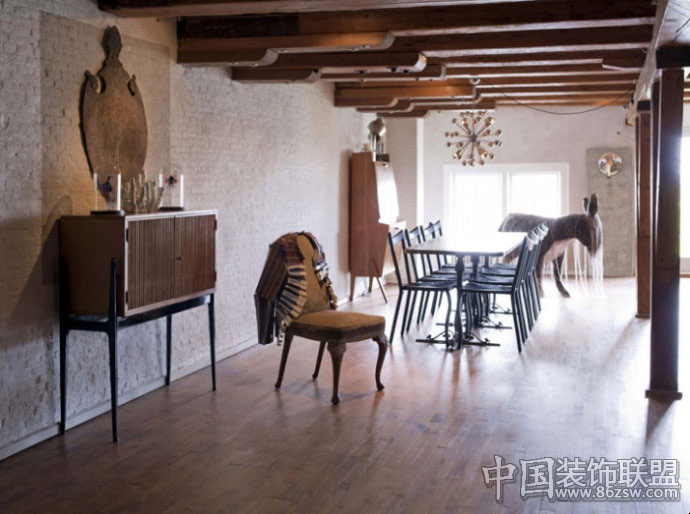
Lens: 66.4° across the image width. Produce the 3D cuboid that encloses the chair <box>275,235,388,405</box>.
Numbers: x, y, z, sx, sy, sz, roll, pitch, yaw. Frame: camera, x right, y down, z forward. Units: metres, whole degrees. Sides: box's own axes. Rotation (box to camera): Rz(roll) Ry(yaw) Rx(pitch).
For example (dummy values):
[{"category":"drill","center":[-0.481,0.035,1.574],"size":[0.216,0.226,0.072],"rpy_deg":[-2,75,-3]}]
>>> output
[{"category":"chair","center":[-0.129,0.464,4.584],"size":[0.805,1.404,0.859],"rpy_deg":[0,1,23]}]
